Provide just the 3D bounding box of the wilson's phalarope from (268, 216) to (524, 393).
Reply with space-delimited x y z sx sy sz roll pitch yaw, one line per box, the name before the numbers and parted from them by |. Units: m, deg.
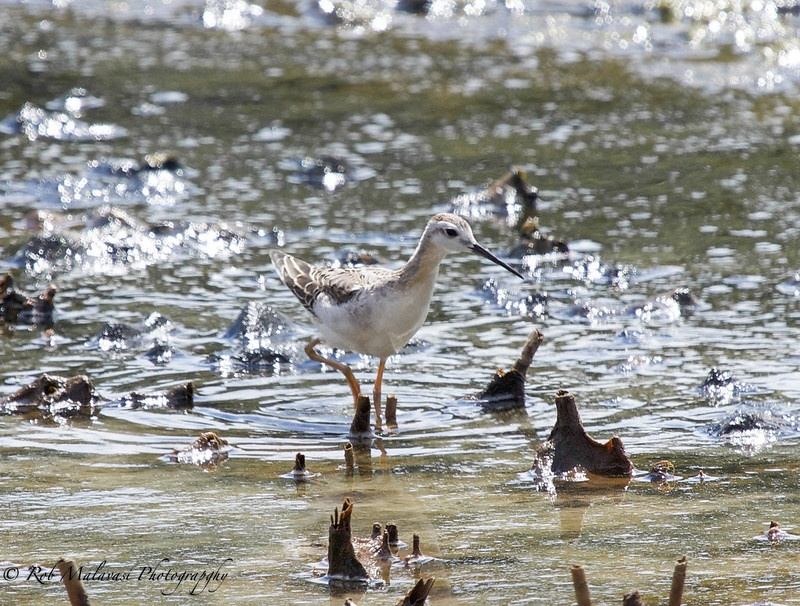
wilson's phalarope | -0.241 -0.008 8.708 1.274 1.216 0.655 0 5 40
